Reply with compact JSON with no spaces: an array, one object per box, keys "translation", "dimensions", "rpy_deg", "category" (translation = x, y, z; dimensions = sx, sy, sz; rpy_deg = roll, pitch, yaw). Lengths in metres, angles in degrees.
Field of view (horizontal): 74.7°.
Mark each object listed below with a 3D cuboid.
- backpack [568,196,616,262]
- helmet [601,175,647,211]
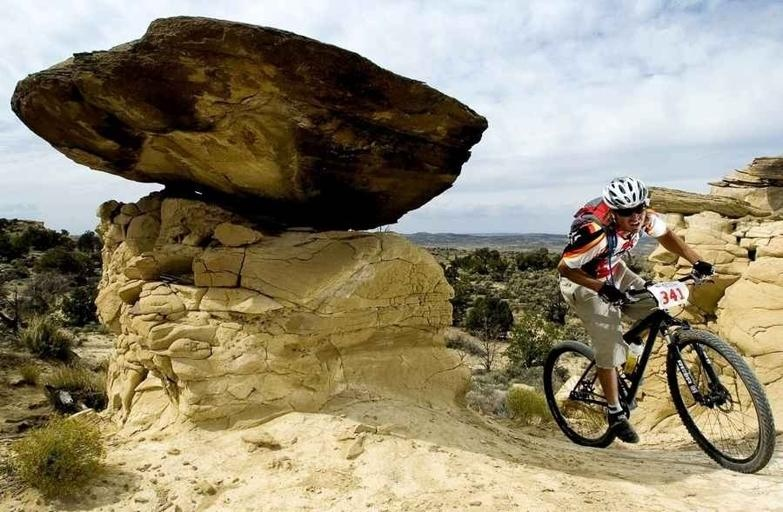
[{"translation":[2.752,-0.357,6.978],"dimensions":[0.690,0.796,0.342],"rpy_deg":[3,-5,6],"category":"backpack"},{"translation":[3.084,-0.822,6.737],"dimensions":[0.515,0.420,0.306],"rpy_deg":[2,-5,16],"category":"helmet"}]
